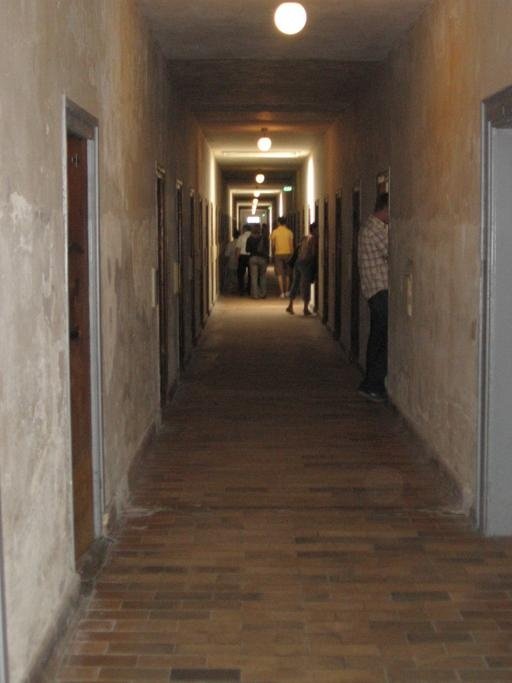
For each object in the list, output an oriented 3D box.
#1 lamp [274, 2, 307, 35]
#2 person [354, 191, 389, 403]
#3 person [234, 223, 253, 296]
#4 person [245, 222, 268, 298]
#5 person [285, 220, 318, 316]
[{"bbox_3d":[0.239,-2.305,4.139,0.201,0.237,0.149,0,2,3],"label":"lamp"},{"bbox_3d":[1.282,-0.499,6.453,0.308,2.276,0.430,0,2,13],"label":"person"},{"bbox_3d":[-0.386,-2.702,18.618,0.482,2.226,0.555,-4,26,-18],"label":"person"},{"bbox_3d":[0.056,-2.531,17.071,0.537,2.518,0.786,-7,45,-6],"label":"person"},{"bbox_3d":[1.091,-1.669,13.893,0.675,2.121,1.569,0,2,-3],"label":"person"}]
